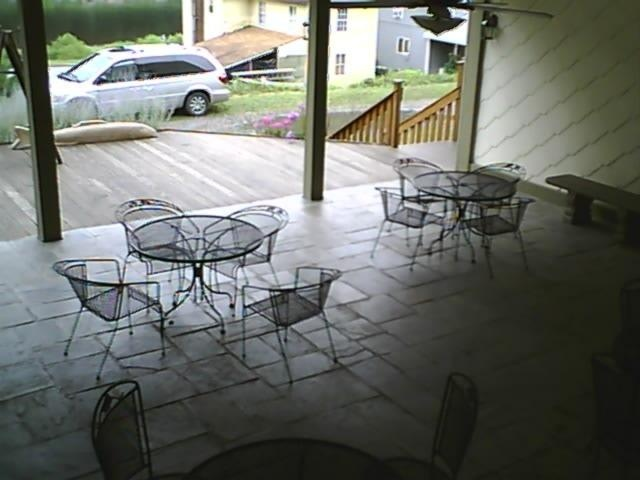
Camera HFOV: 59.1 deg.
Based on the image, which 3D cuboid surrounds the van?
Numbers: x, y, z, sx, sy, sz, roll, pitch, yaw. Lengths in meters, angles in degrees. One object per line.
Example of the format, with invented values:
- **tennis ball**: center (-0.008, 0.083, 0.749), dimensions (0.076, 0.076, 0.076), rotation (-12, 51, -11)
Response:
- **van**: center (-3.649, -3.254, 11.647), dimensions (3.805, 1.220, 1.449), rotation (-9, 42, -23)

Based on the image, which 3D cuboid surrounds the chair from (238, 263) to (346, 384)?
- **chair**: center (-0.245, 0.784, 5.055), dimensions (0.714, 0.719, 0.631), rotation (-19, 39, -39)

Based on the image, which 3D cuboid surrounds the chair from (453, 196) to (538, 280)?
- **chair**: center (2.040, -0.002, 6.654), dimensions (0.779, 0.867, 0.669), rotation (-9, 43, -6)

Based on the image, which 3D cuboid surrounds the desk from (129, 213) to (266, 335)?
- **desk**: center (-1.288, 0.356, 5.804), dimensions (1.367, 0.789, 1.217), rotation (4, 29, 0)

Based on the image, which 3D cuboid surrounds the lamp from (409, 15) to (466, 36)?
- **lamp**: center (0.937, -1.723, 4.512), dimensions (0.412, 0.144, 0.279), rotation (7, 22, 12)

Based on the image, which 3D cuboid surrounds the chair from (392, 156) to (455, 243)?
- **chair**: center (1.425, -0.615, 7.054), dimensions (0.760, 0.491, 0.625), rotation (8, 15, -46)

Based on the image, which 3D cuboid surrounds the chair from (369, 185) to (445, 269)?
- **chair**: center (1.134, -0.147, 6.799), dimensions (0.885, 0.953, 0.814), rotation (-1, 20, -23)

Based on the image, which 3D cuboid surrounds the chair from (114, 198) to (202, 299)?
- **chair**: center (-1.837, 0.093, 6.469), dimensions (0.864, 0.933, 0.829), rotation (15, 42, 42)

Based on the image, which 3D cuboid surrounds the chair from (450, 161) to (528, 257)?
- **chair**: center (2.038, -0.419, 6.555), dimensions (0.658, 0.769, 0.603), rotation (32, -7, -29)

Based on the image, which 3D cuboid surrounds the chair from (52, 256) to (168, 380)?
- **chair**: center (-1.845, 0.589, 4.903), dimensions (0.764, 0.744, 0.653), rotation (-1, 36, -40)
